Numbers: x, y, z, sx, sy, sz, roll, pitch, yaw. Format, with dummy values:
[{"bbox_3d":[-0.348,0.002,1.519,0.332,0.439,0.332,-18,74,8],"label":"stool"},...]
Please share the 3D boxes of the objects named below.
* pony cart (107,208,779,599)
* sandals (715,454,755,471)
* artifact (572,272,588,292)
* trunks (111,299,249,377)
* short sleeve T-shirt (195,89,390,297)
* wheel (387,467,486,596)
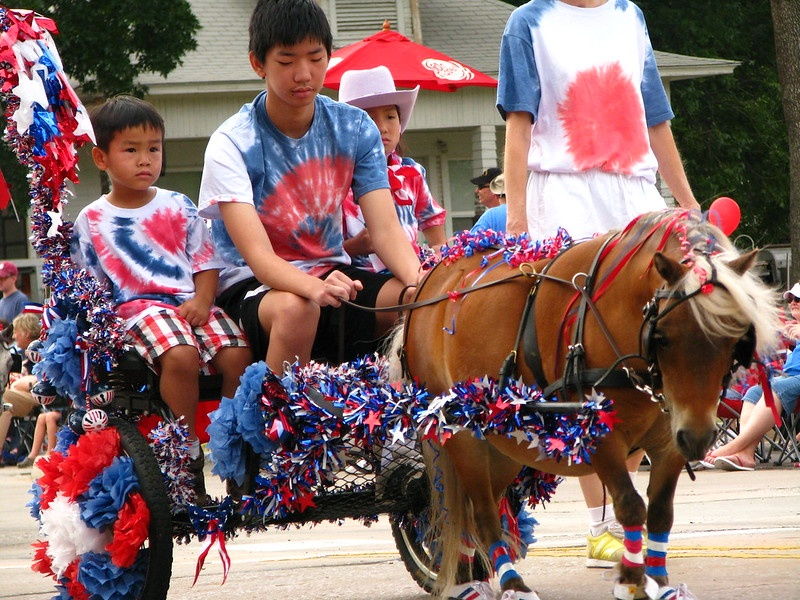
[{"bbox_3d":[0.494,0.546,6.220,2.281,1.869,0.851,2,7,32],"label":"pony cart"},{"bbox_3d":[2.635,1.300,10.946,0.364,0.133,0.130,8,-10,-2],"label":"sandals"},{"bbox_3d":[0.797,-0.072,6.090,0.084,0.080,0.083,3,7,36],"label":"artifact"},{"bbox_3d":[-1.126,0.136,6.826,0.467,0.184,0.415,1,21,-43],"label":"trunks"},{"bbox_3d":[-0.591,-0.600,7.202,1.315,1.058,0.836,-3,5,-22],"label":"short sleeve T-shirt"},{"bbox_3d":[0.093,1.209,7.120,0.198,0.614,0.646,-25,-25,14],"label":"wheel"}]
